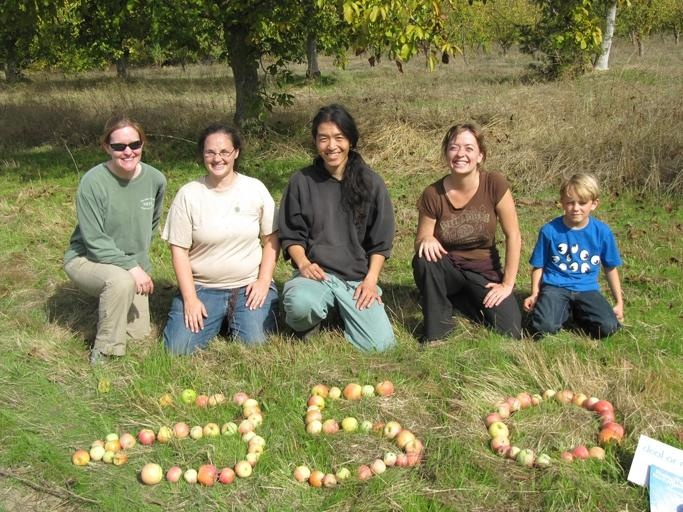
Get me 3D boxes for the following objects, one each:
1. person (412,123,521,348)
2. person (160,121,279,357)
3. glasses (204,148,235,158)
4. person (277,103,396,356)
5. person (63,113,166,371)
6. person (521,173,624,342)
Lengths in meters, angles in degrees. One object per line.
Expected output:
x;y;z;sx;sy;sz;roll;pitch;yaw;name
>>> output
1.155;-0.224;5.862;0.995;1.929;0.721;1;18;7;person
-1.119;-0.148;5.782;1.080;2.008;0.838;-4;19;-9;person
-1.096;-0.915;5.647;0.255;0.069;0.076;-5;19;-10;glasses
-0.065;-0.269;5.770;1.067;2.104;0.820;0;18;3;person
-2.002;-0.186;5.755;0.782;2.046;1.048;16;25;42;person
2.185;0.006;5.871;0.932;1.457;0.712;3;19;12;person
